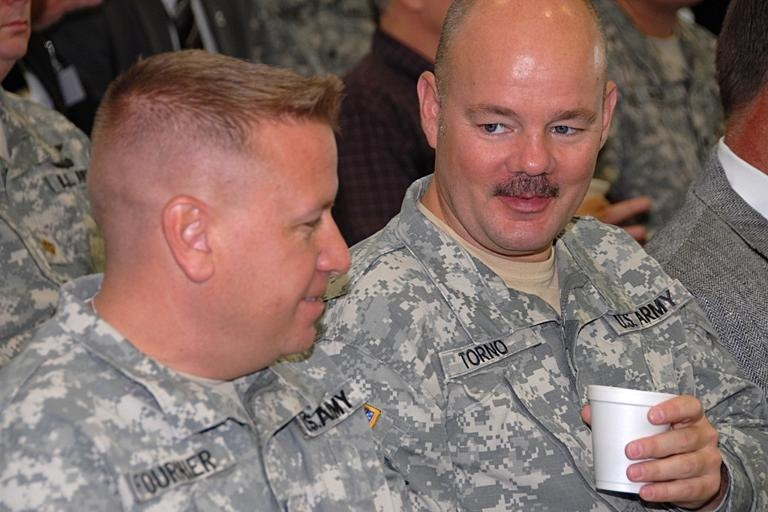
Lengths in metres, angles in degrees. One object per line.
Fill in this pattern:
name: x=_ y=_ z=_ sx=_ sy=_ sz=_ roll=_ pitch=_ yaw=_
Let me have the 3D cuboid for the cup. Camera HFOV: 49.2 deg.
cup: x=0.616 y=0.454 z=2.096 sx=0.206 sy=0.248 sz=0.170 roll=0 pitch=41 yaw=13
